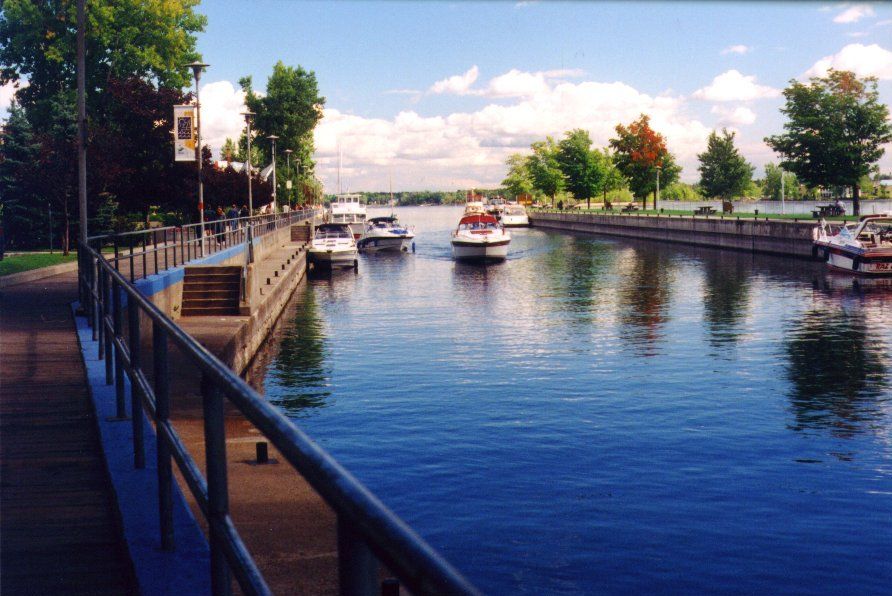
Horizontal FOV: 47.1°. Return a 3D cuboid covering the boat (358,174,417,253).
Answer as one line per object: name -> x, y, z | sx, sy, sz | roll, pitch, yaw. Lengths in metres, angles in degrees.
boat -> -5.345, -5.881, 88.207 | 3.948, 3.262, 15.575 | -1, 9, -4

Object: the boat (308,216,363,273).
boat -> -7.112, -3.172, 63.805 | 3.385, 2.550, 7.326 | 0, 2, -8
